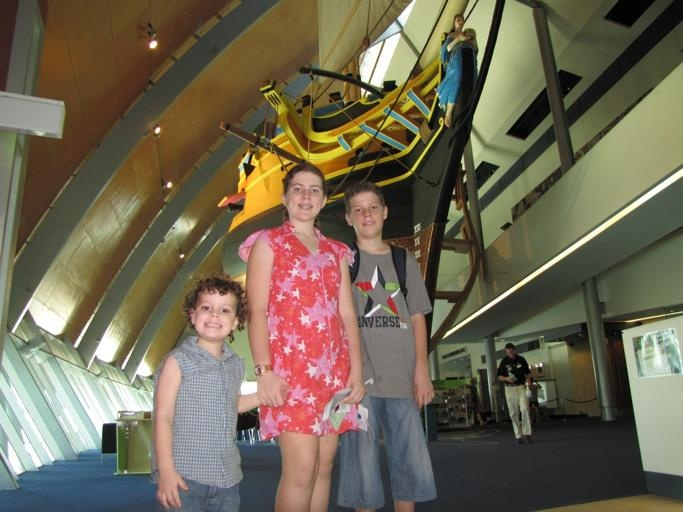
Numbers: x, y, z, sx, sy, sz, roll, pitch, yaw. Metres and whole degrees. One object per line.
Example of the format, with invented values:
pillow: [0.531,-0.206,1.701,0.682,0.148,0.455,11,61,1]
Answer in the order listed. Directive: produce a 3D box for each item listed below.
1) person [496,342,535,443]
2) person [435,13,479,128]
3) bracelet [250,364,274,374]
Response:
person: [3.189,2.447,8.699,0.554,1.749,0.665,-8,-17,18]
person: [2.482,-4.148,10.373,0.790,2.620,0.669,-3,-15,35]
bracelet: [-0.399,0.555,2.335,0.072,0.047,0.071,11,-20,-43]
